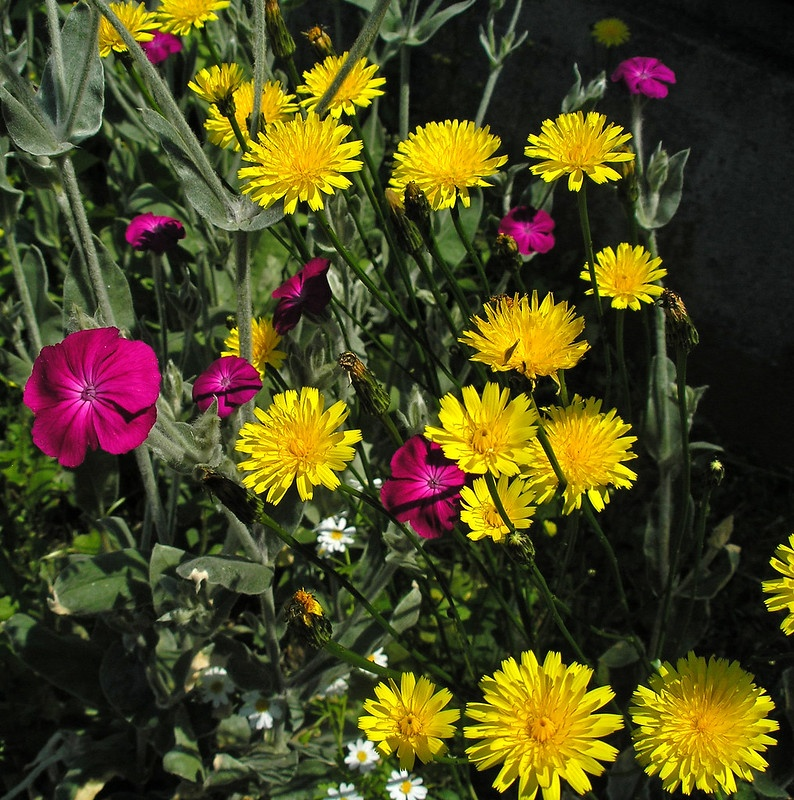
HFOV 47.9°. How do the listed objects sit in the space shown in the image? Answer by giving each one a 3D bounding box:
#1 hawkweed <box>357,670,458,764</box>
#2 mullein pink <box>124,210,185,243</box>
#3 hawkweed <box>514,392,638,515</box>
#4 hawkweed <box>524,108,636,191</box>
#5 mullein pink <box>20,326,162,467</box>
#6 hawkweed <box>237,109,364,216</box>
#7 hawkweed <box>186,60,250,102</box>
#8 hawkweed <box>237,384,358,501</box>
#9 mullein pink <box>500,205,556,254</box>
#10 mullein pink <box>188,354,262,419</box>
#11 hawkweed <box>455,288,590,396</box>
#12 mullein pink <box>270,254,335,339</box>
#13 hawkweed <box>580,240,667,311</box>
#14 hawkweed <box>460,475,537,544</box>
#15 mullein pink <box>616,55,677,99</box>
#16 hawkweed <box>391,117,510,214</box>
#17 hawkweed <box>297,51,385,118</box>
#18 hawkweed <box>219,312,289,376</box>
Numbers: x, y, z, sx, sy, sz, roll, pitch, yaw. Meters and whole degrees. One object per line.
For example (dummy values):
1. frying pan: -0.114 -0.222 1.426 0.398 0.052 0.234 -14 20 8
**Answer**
1. hawkweed: 0.020 0.392 1.093 0.122 0.034 0.129 -2 5 24
2. mullein pink: -0.445 -0.319 1.652 0.077 0.020 0.076 -14 42 -8
3. hawkweed: 0.240 0.053 1.167 0.173 0.080 0.183 -1 11 6
4. hawkweed: 0.260 -0.362 1.265 0.127 0.071 0.140 5 4 14
5. mullein pink: -0.372 -0.001 1.094 0.164 0.121 0.120 -2 35 -8
6. hawkweed: -0.131 -0.311 1.233 0.163 0.137 0.188 -1 35 -7
7. hawkweed: -0.275 -0.500 1.422 0.080 0.042 0.081 -27 16 36
8. hawkweed: -0.103 0.059 1.162 0.164 0.080 0.157 1 7 -25
9. mullein pink: 0.266 -0.342 1.818 0.106 0.085 0.141 -3 36 -10
10. mullein pink: -0.254 -0.024 1.316 0.103 0.118 0.026 -25 53 -2
11. hawkweed: 0.167 -0.092 1.129 0.151 0.093 0.152 6 -8 -19
12. mullein pink: -0.154 -0.160 1.450 0.092 0.137 0.160 -2 35 -8
13. hawkweed: 0.328 -0.183 1.283 0.106 0.053 0.115 -2 -11 20
14. hawkweed: 0.132 0.140 1.151 0.032 0.085 0.090 20 41 -56
15. mullein pink: 0.426 -0.541 1.541 0.096 0.025 0.102 2 60 7
16. hawkweed: 0.077 -0.362 1.300 0.142 0.086 0.146 -5 9 25
17. hawkweed: -0.079 -0.495 1.373 0.121 0.067 0.130 -3 8 -1
18. hawkweed: -0.228 -0.086 1.434 0.092 0.099 0.042 -14 -17 -16
